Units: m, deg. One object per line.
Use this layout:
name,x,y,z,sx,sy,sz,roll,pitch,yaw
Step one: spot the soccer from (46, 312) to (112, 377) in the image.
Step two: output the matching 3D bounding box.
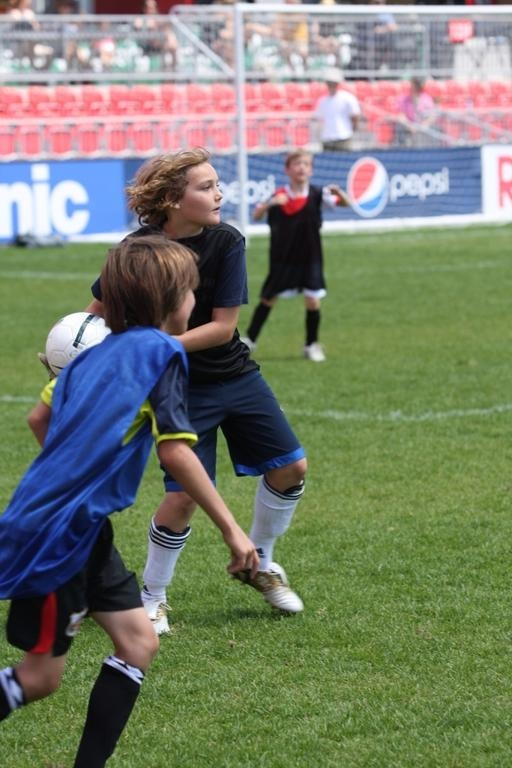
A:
soccer,-0.401,-0.088,2.437,0.118,0.142,0.153,-3,8,-27

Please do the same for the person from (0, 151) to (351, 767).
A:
person,-0.137,0.030,2.977,0.569,1.319,0.451,2,8,1
